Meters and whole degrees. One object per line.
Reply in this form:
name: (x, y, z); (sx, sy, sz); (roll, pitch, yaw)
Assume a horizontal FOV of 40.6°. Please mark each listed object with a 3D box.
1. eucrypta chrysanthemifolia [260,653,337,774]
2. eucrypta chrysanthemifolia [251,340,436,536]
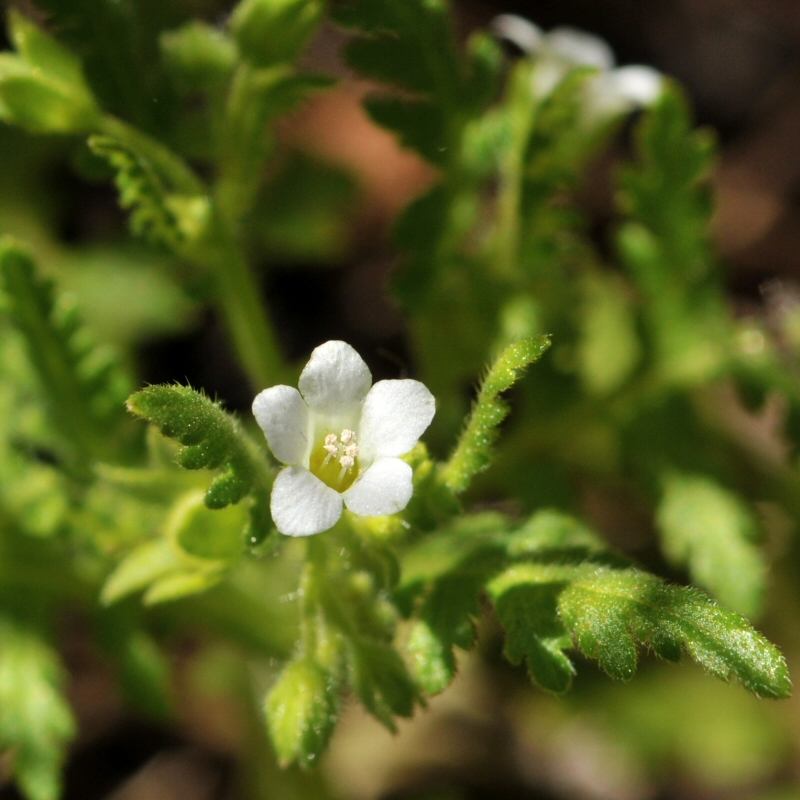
eucrypta chrysanthemifolia: (-0.281, 0.907, 3.243); (0.104, 0.358, 0.262); (33, 60, -17)
eucrypta chrysanthemifolia: (-0.152, 0.102, 3.146); (0.508, 0.411, 0.538); (-12, 80, -5)
